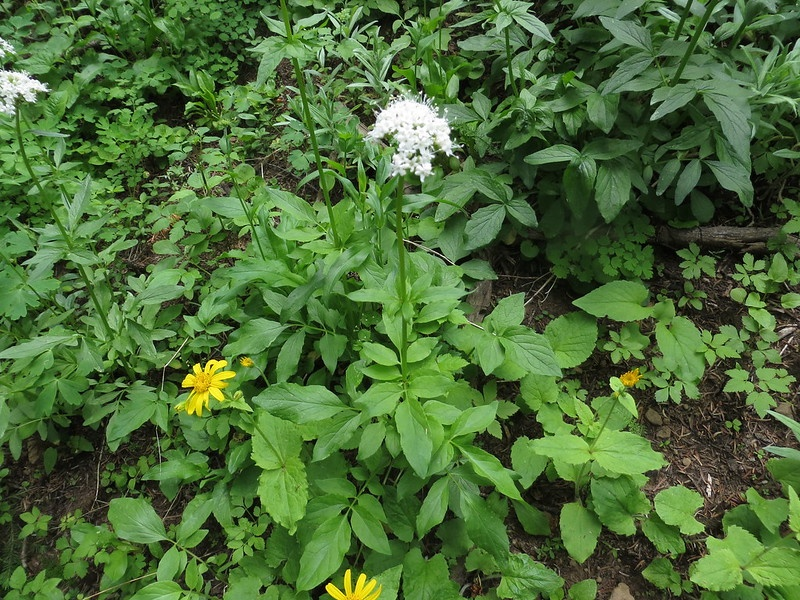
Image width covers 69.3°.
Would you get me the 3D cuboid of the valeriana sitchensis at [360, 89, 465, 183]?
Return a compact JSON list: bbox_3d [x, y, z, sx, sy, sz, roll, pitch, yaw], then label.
[{"bbox_3d":[0.034,-0.910,3.425,0.552,0.413,0.596,0,92,-9],"label":"valeriana sitchensis"}]
